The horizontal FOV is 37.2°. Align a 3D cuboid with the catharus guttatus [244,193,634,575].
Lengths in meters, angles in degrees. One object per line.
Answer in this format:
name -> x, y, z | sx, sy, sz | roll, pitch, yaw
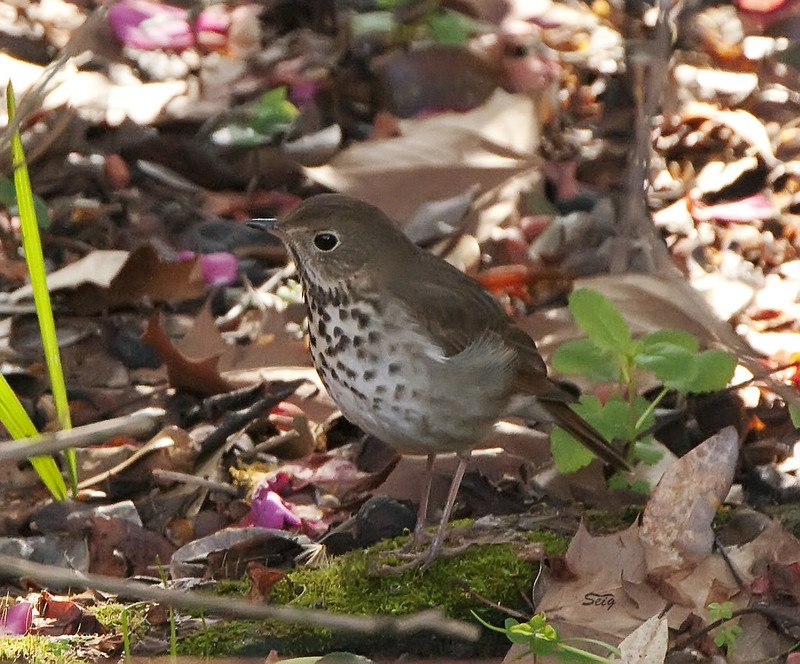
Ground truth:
catharus guttatus -> 0.065, 0.113, 4.221 | 1.054, 1.120, 0.712 | 26, 25, 34
